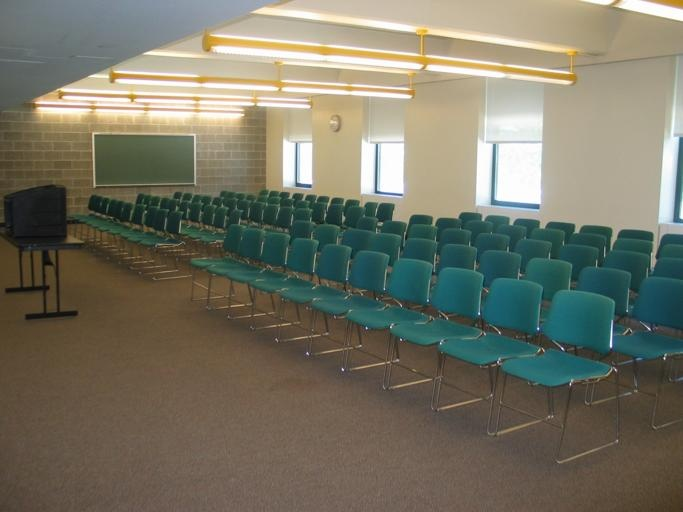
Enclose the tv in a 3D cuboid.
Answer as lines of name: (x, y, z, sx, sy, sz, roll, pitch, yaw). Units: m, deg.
tv: (-4.051, -0.534, 6.898, 0.751, 0.736, 0.754, 3, -1, -37)
